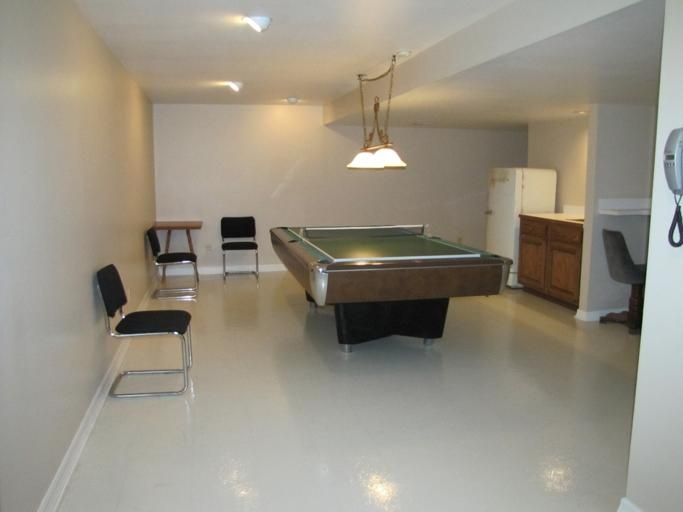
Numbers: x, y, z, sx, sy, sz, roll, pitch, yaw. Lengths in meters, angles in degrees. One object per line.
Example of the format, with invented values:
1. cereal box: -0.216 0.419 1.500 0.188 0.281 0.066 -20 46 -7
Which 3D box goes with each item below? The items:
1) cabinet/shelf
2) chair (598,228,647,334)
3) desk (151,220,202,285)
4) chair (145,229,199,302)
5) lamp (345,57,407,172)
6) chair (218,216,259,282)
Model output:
1. cabinet/shelf: 2.664 0.000 6.146 0.542 1.016 1.021 -11 16 -24
2. chair: 2.880 0.241 5.008 0.622 0.985 0.632 2 5 30
3. desk: -2.047 0.056 6.649 0.772 0.986 0.922 -3 13 -13
4. chair: -2.078 0.069 6.332 0.542 0.824 0.464 -3 11 -19
5. lamp: 0.354 -1.623 5.751 0.512 1.586 1.011 -6 12 -25
6. chair: -1.444 -0.143 7.202 0.607 0.899 0.641 0 4 17
